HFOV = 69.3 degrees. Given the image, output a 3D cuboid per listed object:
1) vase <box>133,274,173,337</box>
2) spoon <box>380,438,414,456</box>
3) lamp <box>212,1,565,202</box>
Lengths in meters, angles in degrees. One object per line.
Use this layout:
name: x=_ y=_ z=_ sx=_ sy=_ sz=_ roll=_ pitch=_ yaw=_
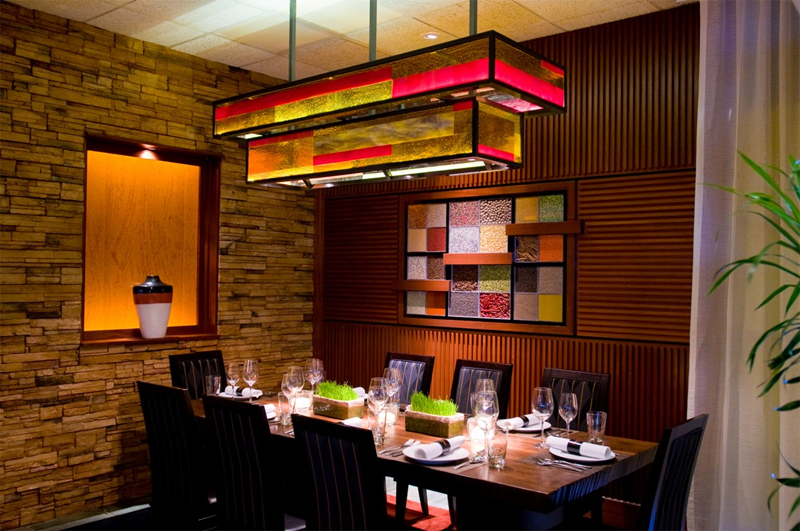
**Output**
vase: x=-2.457 y=0.452 z=5.764 sx=0.329 sy=0.570 sz=0.177 roll=3 pitch=-5 yaw=-27
spoon: x=-0.018 y=1.160 z=3.751 sx=0.077 sy=0.028 sz=0.277 roll=5 pitch=-1 yaw=24
lamp: x=-0.115 y=-1.045 z=4.104 sx=2.925 sy=0.676 sz=1.143 roll=-7 pitch=-15 yaw=35
